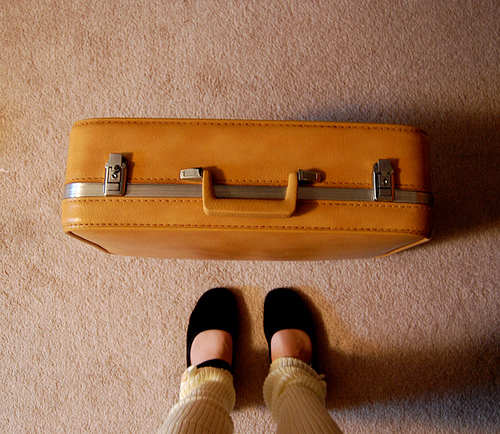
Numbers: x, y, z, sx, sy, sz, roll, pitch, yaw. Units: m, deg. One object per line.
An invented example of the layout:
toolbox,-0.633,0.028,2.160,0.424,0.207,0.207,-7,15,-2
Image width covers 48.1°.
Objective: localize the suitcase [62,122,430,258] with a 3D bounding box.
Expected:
suitcase,0.011,-0.014,1.854,0.958,0.677,0.322,1,84,-1
